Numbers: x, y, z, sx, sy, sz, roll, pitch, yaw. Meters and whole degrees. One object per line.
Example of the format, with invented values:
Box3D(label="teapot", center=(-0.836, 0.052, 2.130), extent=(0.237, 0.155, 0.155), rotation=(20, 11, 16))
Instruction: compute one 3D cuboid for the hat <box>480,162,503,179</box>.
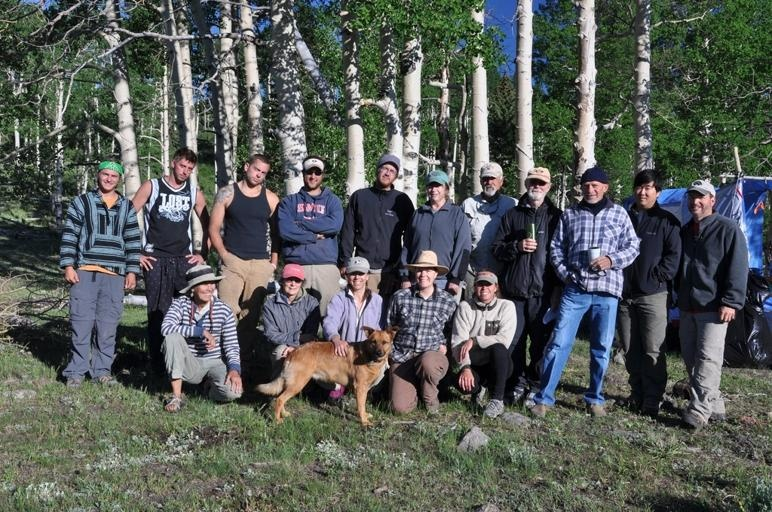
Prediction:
Box3D(label="hat", center=(1.782, -1.458, 12.993), extent=(0.359, 0.283, 0.442), rotation=(4, 0, 7))

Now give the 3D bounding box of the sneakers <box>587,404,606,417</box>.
Box3D(label="sneakers", center=(3.381, 2.492, 12.295), extent=(0.261, 0.175, 0.134), rotation=(0, 3, 25))

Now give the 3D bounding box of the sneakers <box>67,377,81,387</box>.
Box3D(label="sneakers", center=(-5.181, 2.099, 12.627), extent=(0.223, 0.130, 0.204), rotation=(3, 0, -21))

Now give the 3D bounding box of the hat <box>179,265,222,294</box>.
Box3D(label="hat", center=(-3.029, 0.462, 12.227), extent=(0.566, 0.231, 0.489), rotation=(-25, 5, 11))

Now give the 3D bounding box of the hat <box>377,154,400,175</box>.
Box3D(label="hat", center=(0.032, -1.616, 13.171), extent=(0.368, 0.332, 0.336), rotation=(3, 0, -3))

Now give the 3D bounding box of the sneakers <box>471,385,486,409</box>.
Box3D(label="sneakers", center=(1.524, 2.288, 12.577), extent=(0.138, 0.433, 0.184), rotation=(-8, -32, 45))

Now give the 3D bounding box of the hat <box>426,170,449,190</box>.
Box3D(label="hat", center=(0.863, -1.331, 12.912), extent=(0.359, 0.282, 0.443), rotation=(3, 0, 0))

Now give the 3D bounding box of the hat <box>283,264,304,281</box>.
Box3D(label="hat", center=(-1.552, 0.270, 12.649), extent=(0.339, 0.258, 0.199), rotation=(3, 0, -9))

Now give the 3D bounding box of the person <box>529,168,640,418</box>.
Box3D(label="person", center=(3.200, 0.593, 12.194), extent=(1.369, 4.062, 0.509), rotation=(3, 0, 14))

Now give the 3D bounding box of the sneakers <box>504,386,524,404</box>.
Box3D(label="sneakers", center=(2.139, 2.304, 12.602), extent=(0.385, 0.307, 0.249), rotation=(3, 0, -6))

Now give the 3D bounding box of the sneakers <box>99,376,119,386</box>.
Box3D(label="sneakers", center=(-4.674, 2.099, 12.763), extent=(0.178, 0.093, 0.213), rotation=(9, -9, -4))

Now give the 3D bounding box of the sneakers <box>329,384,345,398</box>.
Box3D(label="sneakers", center=(-0.828, 2.217, 12.528), extent=(0.233, 0.202, 0.330), rotation=(4, -43, -12))

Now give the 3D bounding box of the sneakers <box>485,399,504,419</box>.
Box3D(label="sneakers", center=(1.722, 2.446, 12.203), extent=(0.341, 0.295, 0.243), rotation=(3, 0, -1))

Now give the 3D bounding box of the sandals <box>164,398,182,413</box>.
Box3D(label="sandals", center=(-3.380, 2.361, 12.052), extent=(0.264, 0.220, 0.264), rotation=(3, 0, -16))

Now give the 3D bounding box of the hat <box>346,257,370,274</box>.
Box3D(label="hat", center=(-0.477, 0.162, 12.547), extent=(0.359, 0.279, 0.239), rotation=(3, 0, -12))

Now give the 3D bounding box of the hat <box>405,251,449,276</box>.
Box3D(label="hat", center=(0.654, 0.097, 12.657), extent=(0.544, 0.395, 0.627), rotation=(4, 0, 39))
